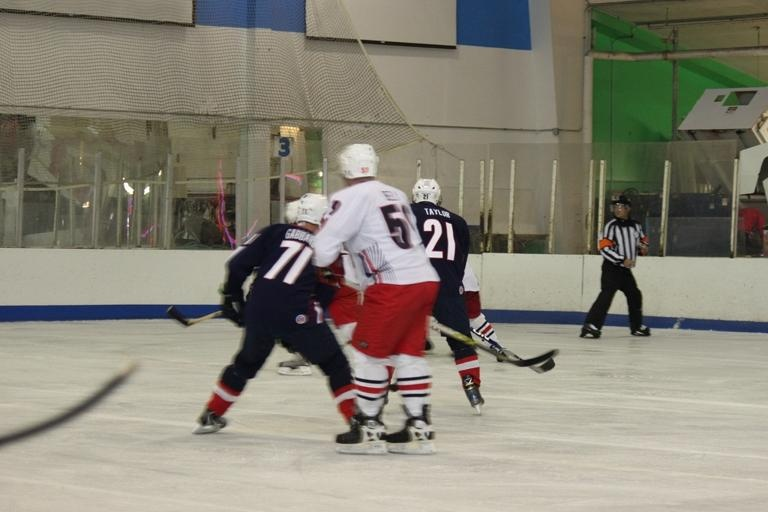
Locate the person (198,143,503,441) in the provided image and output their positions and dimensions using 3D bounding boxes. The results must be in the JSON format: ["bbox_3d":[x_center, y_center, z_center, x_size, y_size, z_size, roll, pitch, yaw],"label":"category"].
[{"bbox_3d":[0.121,0.315,8.063,0.708,2.368,1.271,2,4,40],"label":"person"}]

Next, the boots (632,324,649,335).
[{"bbox_3d":[3.237,0.941,12.847,0.117,0.089,0.197,3,-7,-33],"label":"boots"}]

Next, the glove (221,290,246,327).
[{"bbox_3d":[-1.279,0.442,8.549,0.229,0.304,0.326,1,-1,-9],"label":"glove"}]

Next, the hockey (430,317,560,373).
[{"bbox_3d":[1.096,0.921,10.258,1.503,0.329,0.209,17,-25,-26],"label":"hockey"}]

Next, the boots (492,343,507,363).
[{"bbox_3d":[0.997,0.838,8.920,0.116,0.197,0.089,-8,-5,-37],"label":"boots"}]

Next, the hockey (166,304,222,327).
[{"bbox_3d":[-2.302,0.726,12.180,0.459,0.147,1.393,-35,16,-28],"label":"hockey"}]

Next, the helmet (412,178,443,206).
[{"bbox_3d":[0.378,-0.566,8.954,0.207,0.241,0.251,1,6,4],"label":"helmet"}]

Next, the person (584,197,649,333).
[{"bbox_3d":[2.884,0.134,12.627,0.950,1.758,0.484,-1,3,-8],"label":"person"}]

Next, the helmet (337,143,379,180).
[{"bbox_3d":[-0.224,-0.746,8.081,0.274,0.250,0.313,-1,-2,-22],"label":"helmet"}]
